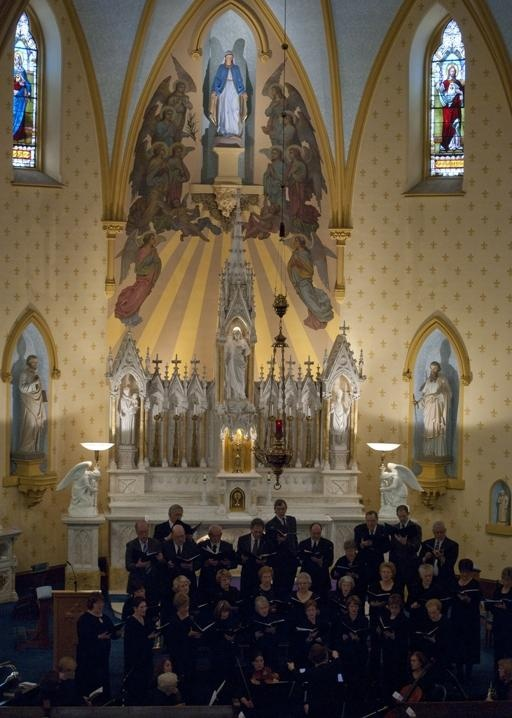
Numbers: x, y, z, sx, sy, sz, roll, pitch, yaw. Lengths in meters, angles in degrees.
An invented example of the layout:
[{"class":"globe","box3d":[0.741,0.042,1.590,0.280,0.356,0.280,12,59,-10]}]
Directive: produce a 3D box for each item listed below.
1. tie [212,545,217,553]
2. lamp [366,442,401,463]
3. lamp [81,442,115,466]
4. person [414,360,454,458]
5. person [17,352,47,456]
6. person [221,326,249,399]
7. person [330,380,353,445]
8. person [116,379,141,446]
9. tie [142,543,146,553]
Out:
[{"class":"tie","box3d":[-0.435,1.993,10.662,0.022,0.093,0.027,-2,3,-3]},{"class":"lamp","box3d":[1.919,1.381,15.349,0.395,0.256,0.384,2,-3,-18]},{"class":"lamp","box3d":[-2.329,1.291,14.518,0.531,0.347,0.516,5,-13,-15]},{"class":"person","box3d":[2.719,0.816,15.678,0.518,1.503,0.410,-2,-8,32]},{"class":"person","box3d":[-3.303,0.727,15.061,0.388,1.502,0.609,0,-7,20]},{"class":"person","box3d":[-0.306,0.063,15.127,0.395,1.153,0.288,3,-6,-3]},{"class":"person","box3d":[1.295,0.812,15.460,0.343,1.041,0.247,2,-6,3]},{"class":"person","box3d":[-1.926,0.792,15.282,0.371,1.030,0.291,4,-7,-19]},{"class":"tie","box3d":[-1.234,2.067,11.135,0.056,0.076,0.021,-2,-8,16]}]
